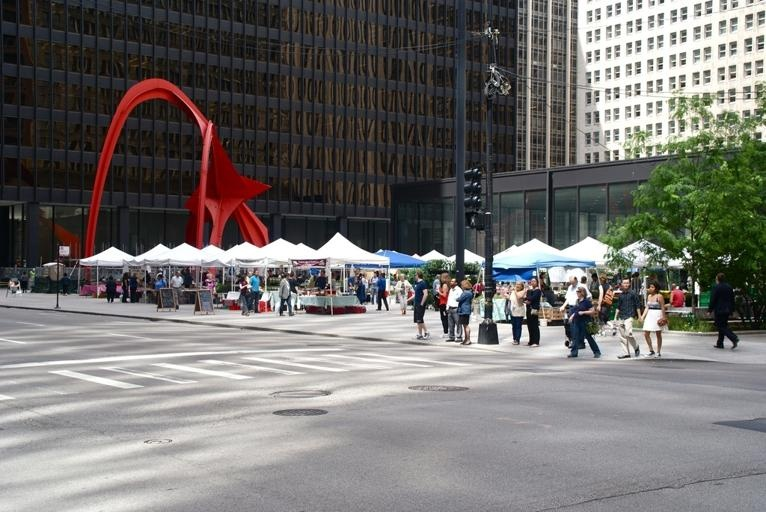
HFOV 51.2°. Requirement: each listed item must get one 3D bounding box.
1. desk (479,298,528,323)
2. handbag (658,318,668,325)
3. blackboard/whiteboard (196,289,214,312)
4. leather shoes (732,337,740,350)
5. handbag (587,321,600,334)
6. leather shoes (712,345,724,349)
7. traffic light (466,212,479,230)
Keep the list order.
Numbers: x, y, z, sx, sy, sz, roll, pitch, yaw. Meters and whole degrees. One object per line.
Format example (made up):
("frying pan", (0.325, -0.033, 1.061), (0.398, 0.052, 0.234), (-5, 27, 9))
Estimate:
("desk", (4.882, 2.295, 34.582), (1.468, 0.727, 1.485), (4, -6, -29))
("handbag", (8.336, 1.954, 23.696), (0.265, 0.108, 0.219), (-4, -9, 32))
("blackboard/whiteboard", (-9.055, 2.280, 40.394), (0.943, 1.455, 0.730), (0, 5, -44))
("leather shoes", (11.239, 2.787, 25.384), (0.144, 0.380, 0.123), (0, 14, 19))
("handbag", (6.269, 2.108, 23.859), (0.369, 0.414, 0.352), (16, -7, 18))
("leather shoes", (10.705, 2.890, 25.472), (0.102, 0.125, 0.275), (1, 2, -39))
("traffic light", (2.909, -1.150, 25.893), (0.404, 0.529, 1.353), (-1, -2, 6))
